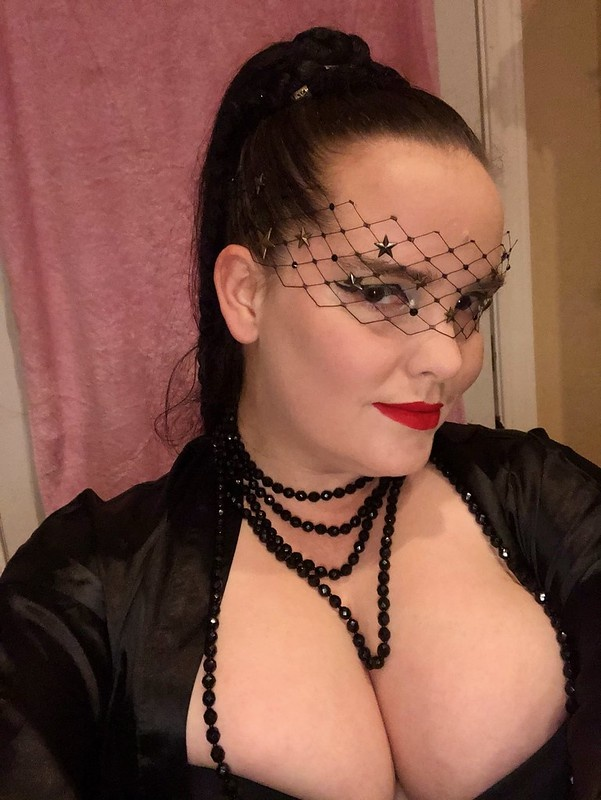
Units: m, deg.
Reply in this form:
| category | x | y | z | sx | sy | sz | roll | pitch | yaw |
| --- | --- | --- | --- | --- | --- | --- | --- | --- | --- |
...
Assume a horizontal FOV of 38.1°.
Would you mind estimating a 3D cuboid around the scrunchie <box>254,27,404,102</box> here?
| category | x | y | z | sx | sy | sz | roll | pitch | yaw |
| --- | --- | --- | --- | --- | --- | --- | --- | --- | --- |
| scrunchie | 0.033 | -0.478 | 1.239 | 0.172 | 0.048 | 0.111 | -9 | 50 | 2 |

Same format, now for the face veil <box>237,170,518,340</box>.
| category | x | y | z | sx | sy | sz | roll | pitch | yaw |
| --- | --- | --- | --- | --- | --- | --- | --- | --- | --- |
| face veil | 0.093 | -0.189 | 1.173 | 0.247 | 0.085 | 0.228 | 4 | 17 | -46 |
